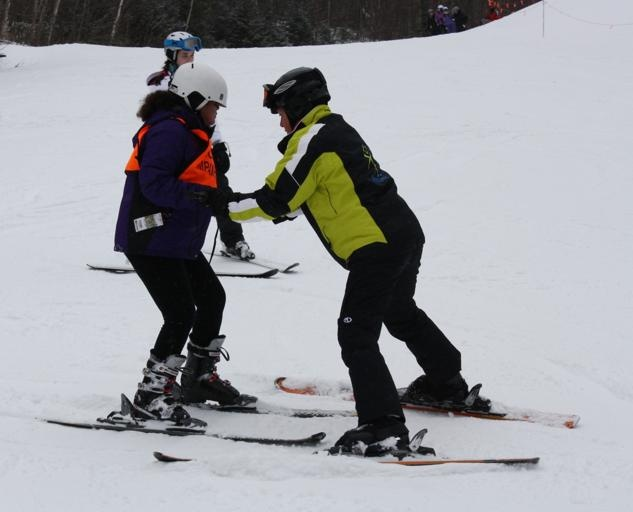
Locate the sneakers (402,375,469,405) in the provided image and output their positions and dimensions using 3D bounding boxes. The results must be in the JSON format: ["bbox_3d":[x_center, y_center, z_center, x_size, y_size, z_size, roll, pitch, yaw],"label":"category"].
[{"bbox_3d":[0.934,1.057,7.274,0.576,0.236,0.189,2,-4,18],"label":"sneakers"}]

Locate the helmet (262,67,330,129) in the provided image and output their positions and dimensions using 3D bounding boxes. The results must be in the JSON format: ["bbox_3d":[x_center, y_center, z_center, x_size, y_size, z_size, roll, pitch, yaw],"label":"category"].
[{"bbox_3d":[-0.152,-1.236,7.128,0.510,0.430,0.398,-8,11,15],"label":"helmet"}]

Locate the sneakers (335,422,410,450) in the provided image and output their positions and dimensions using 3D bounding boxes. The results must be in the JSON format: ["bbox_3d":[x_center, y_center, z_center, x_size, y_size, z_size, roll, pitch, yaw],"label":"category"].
[{"bbox_3d":[0.413,1.279,6.628,0.424,0.148,0.228,0,-9,3],"label":"sneakers"}]

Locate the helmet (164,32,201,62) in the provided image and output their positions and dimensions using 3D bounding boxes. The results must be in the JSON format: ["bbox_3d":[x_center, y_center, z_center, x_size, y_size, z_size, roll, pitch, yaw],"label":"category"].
[{"bbox_3d":[-1.391,-2.108,9.170,0.372,0.277,0.291,5,21,10],"label":"helmet"}]

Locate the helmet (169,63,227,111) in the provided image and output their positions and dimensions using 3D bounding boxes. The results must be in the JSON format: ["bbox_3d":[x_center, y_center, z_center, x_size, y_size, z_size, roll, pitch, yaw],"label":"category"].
[{"bbox_3d":[-0.906,-1.339,7.180,0.446,0.343,0.317,9,25,-10],"label":"helmet"}]

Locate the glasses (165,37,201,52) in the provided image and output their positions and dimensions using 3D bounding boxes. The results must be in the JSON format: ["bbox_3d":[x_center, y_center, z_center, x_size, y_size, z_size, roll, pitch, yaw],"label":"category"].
[{"bbox_3d":[-1.354,-2.103,9.082,0.260,0.086,0.189,2,14,5],"label":"glasses"}]

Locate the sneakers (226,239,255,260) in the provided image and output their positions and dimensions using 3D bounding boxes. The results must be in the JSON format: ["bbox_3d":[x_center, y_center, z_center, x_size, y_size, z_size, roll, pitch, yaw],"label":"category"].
[{"bbox_3d":[-0.893,-0.075,10.780,0.416,0.177,0.157,5,17,34],"label":"sneakers"}]
